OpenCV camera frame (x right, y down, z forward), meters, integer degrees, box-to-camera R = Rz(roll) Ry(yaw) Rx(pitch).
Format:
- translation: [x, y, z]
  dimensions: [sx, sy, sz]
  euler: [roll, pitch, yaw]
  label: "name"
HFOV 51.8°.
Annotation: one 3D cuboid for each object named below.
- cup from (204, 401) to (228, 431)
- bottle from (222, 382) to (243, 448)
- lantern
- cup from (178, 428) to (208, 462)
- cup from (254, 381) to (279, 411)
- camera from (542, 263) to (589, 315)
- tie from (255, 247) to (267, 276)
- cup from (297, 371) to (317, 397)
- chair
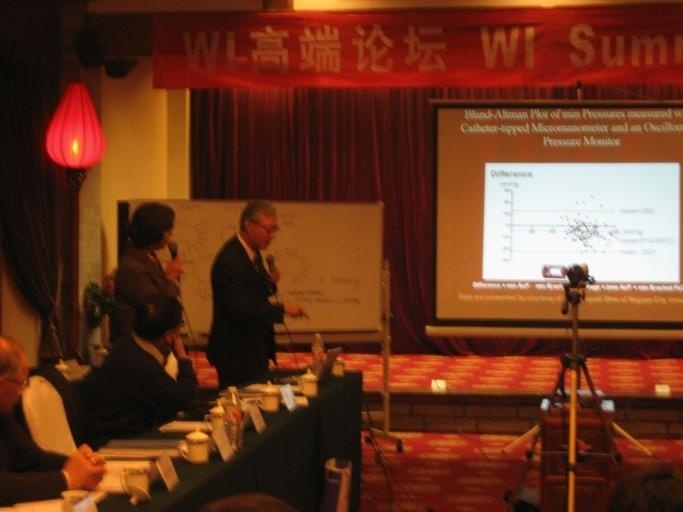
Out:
- translation: [-0.556, 0.723, 3.198]
  dimensions: [0.074, 0.131, 0.125]
  euler: [0, -8, -8]
  label: "cup"
- translation: [-0.477, 0.721, 3.140]
  dimensions: [0.122, 0.286, 0.125]
  euler: [-3, -1, 0]
  label: "bottle"
- translation: [-2.286, -0.972, 6.111]
  dimensions: [0.499, 1.042, 0.522]
  euler: [1, 4, -1]
  label: "lantern"
- translation: [-0.628, 0.801, 2.986]
  dimensions: [0.140, 0.154, 0.103]
  euler: [0, -6, -7]
  label: "cup"
- translation: [-0.365, 0.733, 3.612]
  dimensions: [0.076, 0.138, 0.136]
  euler: [0, 1, 14]
  label: "cup"
- translation: [1.359, 0.193, 4.211]
  dimensions: [0.291, 0.305, 0.250]
  euler: [-6, -6, 26]
  label: "camera"
- translation: [-0.548, 0.036, 4.805]
  dimensions: [0.042, 0.181, 0.186]
  euler: [-6, 12, 6]
  label: "tie"
- translation: [-0.176, 0.708, 3.928]
  dimensions: [0.082, 0.129, 0.117]
  euler: [2, 4, 26]
  label: "cup"
- translation: [-1.360, 0.775, 3.204]
  dimensions: [0.240, 0.337, 0.223]
  euler: [-21, 14, -28]
  label: "chair"
